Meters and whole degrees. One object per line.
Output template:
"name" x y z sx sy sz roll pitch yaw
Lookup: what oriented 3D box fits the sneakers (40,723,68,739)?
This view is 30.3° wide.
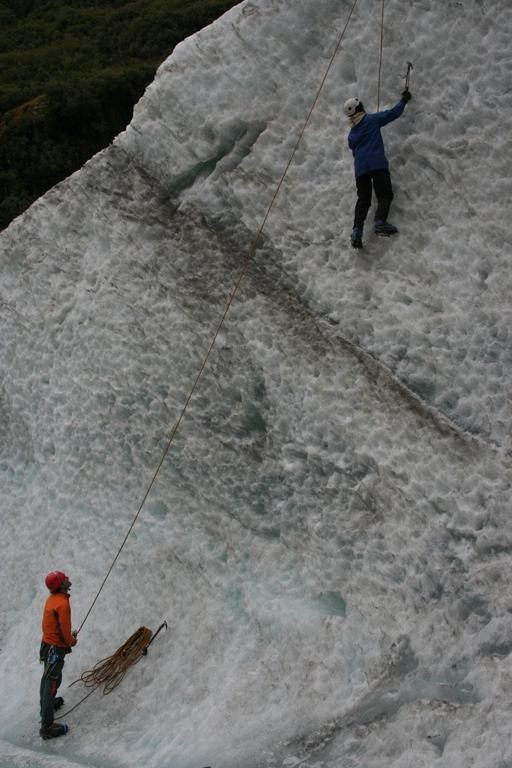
"sneakers" -1.644 2.836 7.706 0.201 0.131 0.105 -12 22 -22

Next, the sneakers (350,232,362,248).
"sneakers" 0.867 -1.230 8.206 0.100 0.130 0.053 -1 -2 44

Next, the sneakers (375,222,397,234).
"sneakers" 1.114 -1.323 8.136 0.192 0.132 0.081 1 -7 -2

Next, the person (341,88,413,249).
"person" 0.977 -1.781 8.124 0.528 1.246 0.222 8 7 33

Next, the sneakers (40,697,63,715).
"sneakers" -1.688 2.702 7.910 0.061 0.089 0.209 35 46 27

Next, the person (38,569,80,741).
"person" -1.621 2.234 7.755 0.275 1.341 0.253 2 6 -21
